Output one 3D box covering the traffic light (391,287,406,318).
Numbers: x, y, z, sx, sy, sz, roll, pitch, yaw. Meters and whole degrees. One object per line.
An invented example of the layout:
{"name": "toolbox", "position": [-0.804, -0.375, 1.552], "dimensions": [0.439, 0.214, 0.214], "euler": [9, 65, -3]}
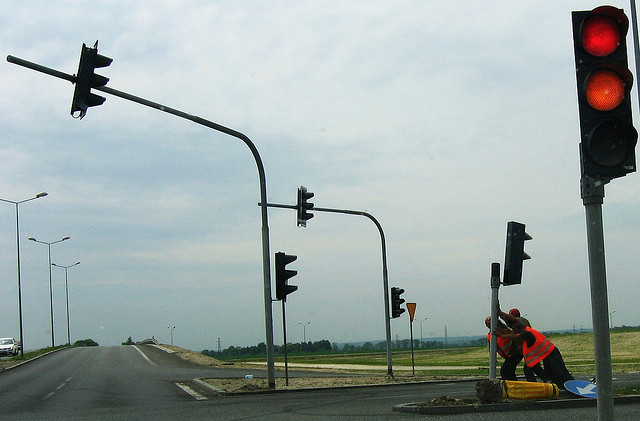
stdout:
{"name": "traffic light", "position": [3.336, 3.909, 41.818], "dimensions": [0.549, 1.249, 0.337], "euler": [-5, -10, 3]}
